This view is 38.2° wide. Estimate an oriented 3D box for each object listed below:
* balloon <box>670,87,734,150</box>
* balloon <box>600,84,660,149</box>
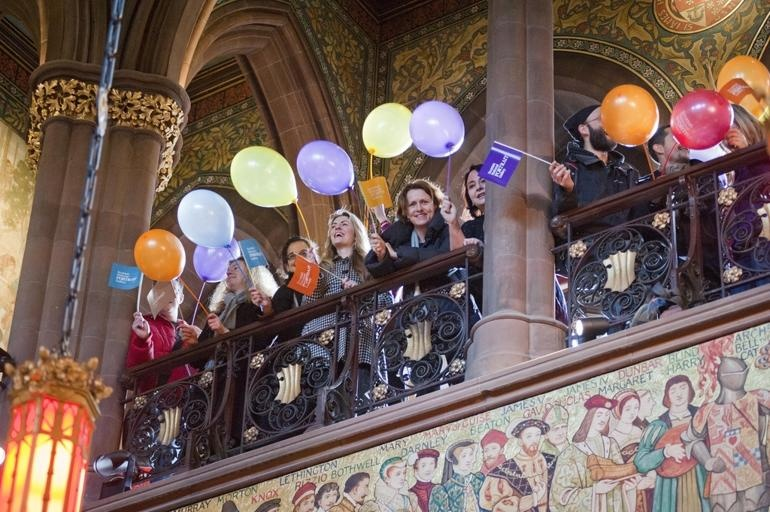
[{"bbox_3d":[2.504,-1.075,8.809,0.460,0.536,0.474,0,-7,28],"label":"balloon"},{"bbox_3d":[2.028,-1.173,9.273,0.440,0.585,0.477,5,1,2],"label":"balloon"}]
